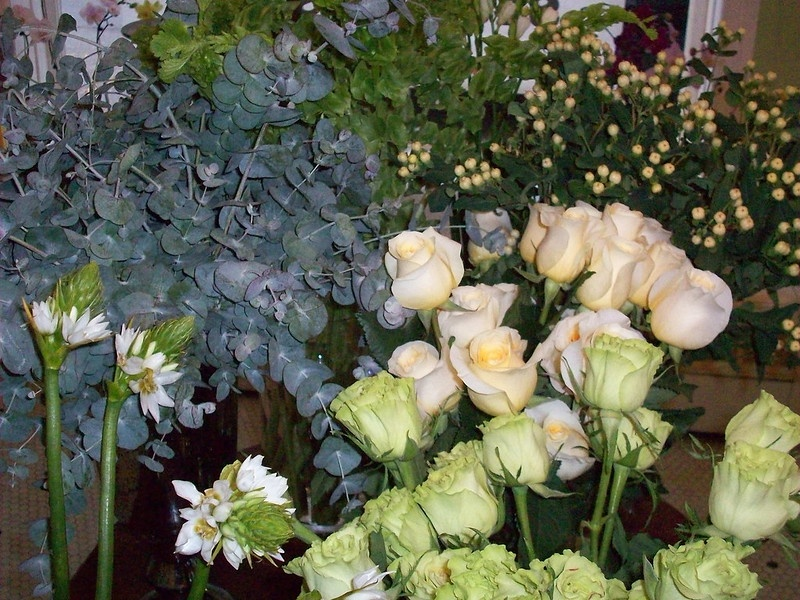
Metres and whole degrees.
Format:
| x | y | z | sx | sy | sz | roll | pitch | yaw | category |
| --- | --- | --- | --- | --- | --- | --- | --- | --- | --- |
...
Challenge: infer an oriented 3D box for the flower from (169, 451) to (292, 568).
| x | y | z | sx | sy | sz | roll | pitch | yaw | category |
| --- | --- | --- | --- | --- | --- | --- | --- | --- | --- |
| -0.111 | 0.144 | 0.470 | 0.082 | 0.059 | 0.056 | 3 | 26 | 6 | flower |

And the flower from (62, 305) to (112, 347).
| x | y | z | sx | sy | sz | roll | pitch | yaw | category |
| --- | --- | --- | --- | --- | --- | --- | --- | --- | --- |
| -0.227 | 0.021 | 0.494 | 0.027 | 0.033 | 0.019 | -4 | -17 | -39 | flower |
